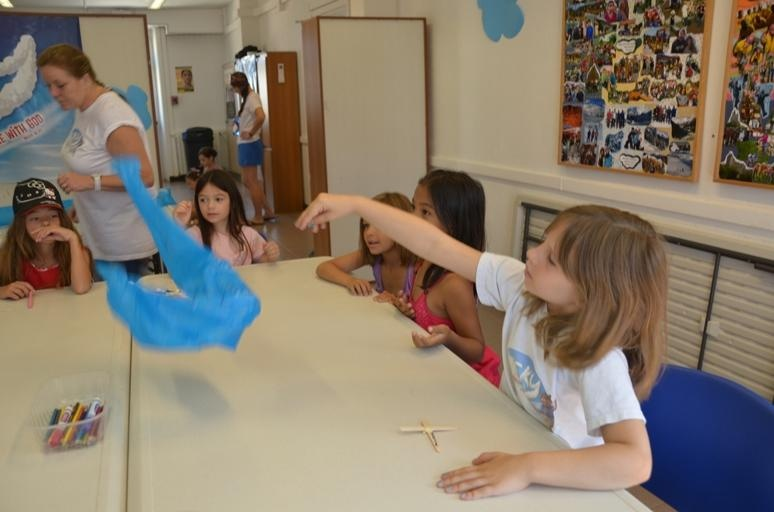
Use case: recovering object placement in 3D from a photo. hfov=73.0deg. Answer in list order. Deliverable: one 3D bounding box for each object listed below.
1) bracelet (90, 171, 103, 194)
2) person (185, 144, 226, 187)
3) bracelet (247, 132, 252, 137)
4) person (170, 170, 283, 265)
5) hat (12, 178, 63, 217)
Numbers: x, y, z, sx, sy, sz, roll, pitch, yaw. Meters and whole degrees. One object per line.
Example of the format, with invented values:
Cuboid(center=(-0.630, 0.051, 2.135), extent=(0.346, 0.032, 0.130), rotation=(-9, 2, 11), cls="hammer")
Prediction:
Cuboid(center=(-1.351, -0.351, 2.476), extent=(0.040, 0.070, 0.067), rotation=(6, -27, -6), cls="bracelet")
Cuboid(center=(-2.377, -1.020, 6.892), extent=(0.400, 0.775, 0.316), rotation=(-9, 13, -31), cls="person")
Cuboid(center=(-1.618, -1.438, 6.217), extent=(0.040, 0.063, 0.055), rotation=(44, 27, -3), cls="bracelet")
Cuboid(center=(-0.882, -0.201, 2.807), extent=(0.696, 0.506, 0.336), rotation=(11, 21, 34), cls="person")
Cuboid(center=(-1.600, -0.247, 2.413), extent=(0.169, 0.142, 0.241), rotation=(-8, 2, -43), cls="hat")
